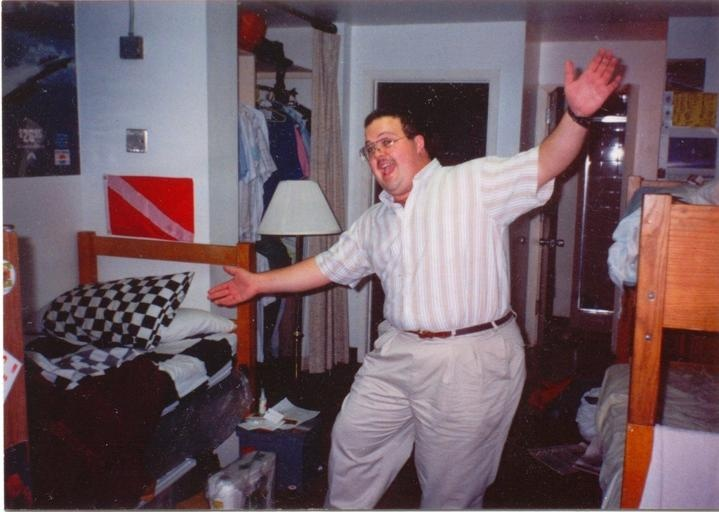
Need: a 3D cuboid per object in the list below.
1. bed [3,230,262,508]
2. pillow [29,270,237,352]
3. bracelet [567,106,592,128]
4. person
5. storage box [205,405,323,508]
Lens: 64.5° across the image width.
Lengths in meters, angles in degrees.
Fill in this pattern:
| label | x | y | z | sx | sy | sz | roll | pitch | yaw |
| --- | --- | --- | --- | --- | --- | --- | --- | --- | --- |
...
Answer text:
| label | x | y | z | sx | sy | sz | roll | pitch | yaw |
| --- | --- | --- | --- | --- | --- | --- | --- | --- | --- |
| bed | -1.323 | 0.479 | 2.816 | 1.321 | 1.206 | 1.308 | 1 | 2 | 5 |
| pillow | -1.228 | 0.301 | 2.929 | 0.588 | 0.168 | 0.494 | -9 | 25 | -7 |
| bracelet | 0.771 | -0.486 | 2.028 | 0.078 | 0.045 | 0.061 | 38 | 29 | 11 |
| person | 0.244 | 0.155 | 2.368 | 1.246 | 1.950 | 0.508 | 11 | 15 | 28 |
| storage box | -0.468 | 1.067 | 2.727 | 0.331 | 0.387 | 0.591 | 6 | 5 | 16 |
